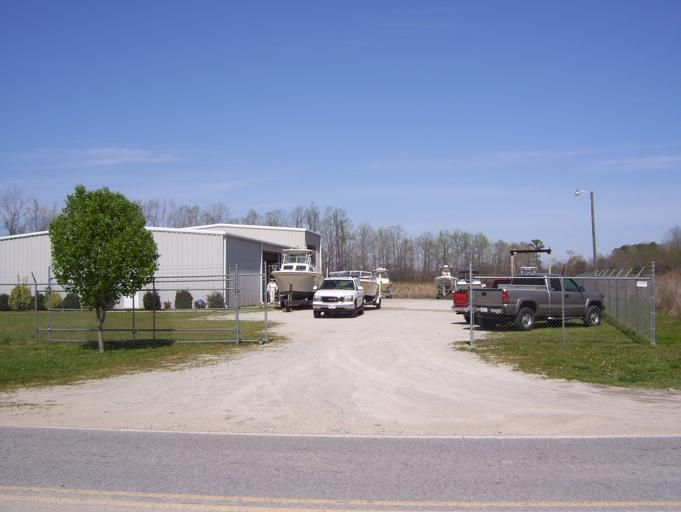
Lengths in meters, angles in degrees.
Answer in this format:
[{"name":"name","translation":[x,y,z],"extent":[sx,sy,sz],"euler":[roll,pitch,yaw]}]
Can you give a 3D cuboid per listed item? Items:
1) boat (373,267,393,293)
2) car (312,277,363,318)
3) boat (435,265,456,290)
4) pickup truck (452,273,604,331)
[{"name":"boat","translation":[2.939,1.641,59.518],"extent":[0.899,1.299,3.115],"euler":[-2,-5,4]},{"name":"car","translation":[-0.104,1.584,34.529],"extent":[1.861,1.572,2.748],"euler":[-1,-1,-1]},{"name":"boat","translation":[7.386,1.471,60.458],"extent":[1.108,1.559,3.752],"euler":[-1,-4,6]},{"name":"pickup truck","translation":[6.390,1.417,28.132],"extent":[4.472,1.617,2.161],"euler":[-1,1,-31]}]
